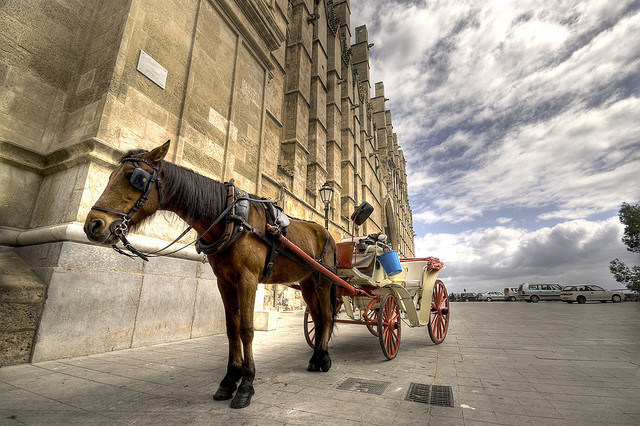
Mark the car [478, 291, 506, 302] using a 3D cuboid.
[{"bbox_3d":[25.546,12.384,43.336,2.409,1.411,4.383,8,-12,-40],"label":"car"}]

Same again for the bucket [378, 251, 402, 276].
[{"bbox_3d":[1.618,1.135,6.591,0.547,0.549,0.228,4,-10,-21],"label":"bucket"}]

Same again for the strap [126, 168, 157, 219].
[{"bbox_3d":[-2.494,-0.245,4.078,0.118,0.563,0.368,41,-13,-9],"label":"strap"}]

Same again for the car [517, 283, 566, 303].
[{"bbox_3d":[24.002,8.770,31.641,1.358,1.989,4.095,5,-10,-24],"label":"car"}]

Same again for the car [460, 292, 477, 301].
[{"bbox_3d":[25.309,14.165,49.346,1.767,1.360,2.586,-2,-10,18],"label":"car"}]

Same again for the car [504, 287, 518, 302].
[{"bbox_3d":[26.156,11.079,39.736,1.139,1.659,1.630,8,-12,-39],"label":"car"}]
